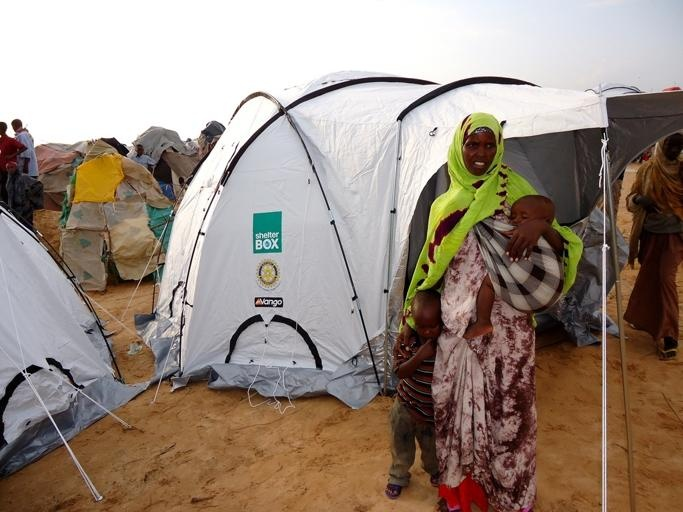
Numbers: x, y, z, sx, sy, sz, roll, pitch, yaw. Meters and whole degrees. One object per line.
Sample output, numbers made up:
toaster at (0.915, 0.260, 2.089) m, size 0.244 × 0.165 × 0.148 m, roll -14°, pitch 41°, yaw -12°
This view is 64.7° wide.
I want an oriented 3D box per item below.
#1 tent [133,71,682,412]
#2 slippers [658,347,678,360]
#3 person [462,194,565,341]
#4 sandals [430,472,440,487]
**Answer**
tent at (0.242, -0.404, 6.106) m, size 4.250 × 1.954 × 4.073 m, roll 3°, pitch 19°, yaw 17°
slippers at (3.779, 1.135, 6.258) m, size 0.192 × 0.075 × 0.108 m, roll -8°, pitch 10°, yaw 15°
person at (1.217, 0.083, 3.914) m, size 0.731 × 0.991 × 0.259 m, roll -7°, pitch 16°, yaw -9°
sandals at (0.786, 1.888, 4.544) m, size 0.076 × 0.095 × 0.142 m, roll 0°, pitch -7°, yaw 7°
